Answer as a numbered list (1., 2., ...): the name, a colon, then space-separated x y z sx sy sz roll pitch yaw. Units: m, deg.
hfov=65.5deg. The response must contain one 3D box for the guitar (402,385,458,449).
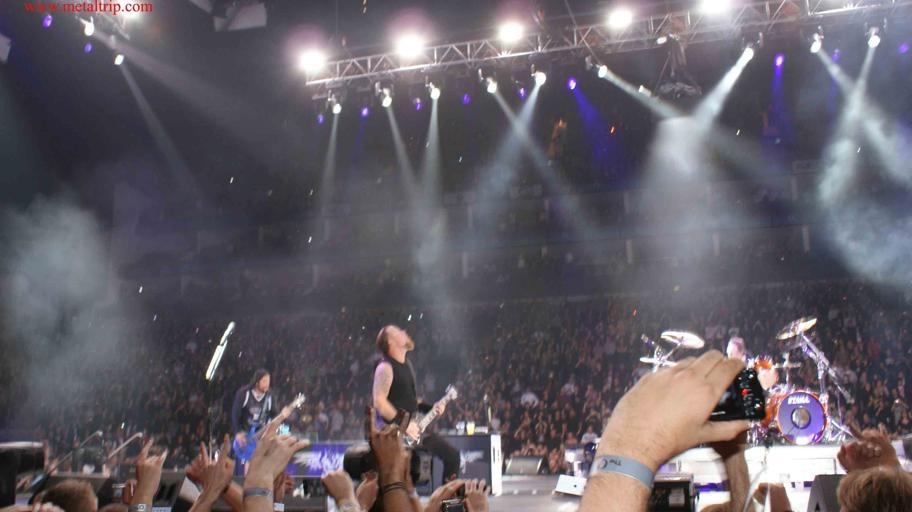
1. guitar: -0.325 2.173 9.801 0.512 0.945 1.110 2 -22 5

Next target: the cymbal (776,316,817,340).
1. cymbal: 5.081 1.021 10.605 0.449 0.387 0.653 -2 -22 12

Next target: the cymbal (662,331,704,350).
1. cymbal: 3.465 1.307 10.895 0.523 0.248 0.610 -2 -23 13

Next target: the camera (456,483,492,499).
1. camera: 0.172 2.397 7.253 0.301 0.164 0.521 3 -22 0
